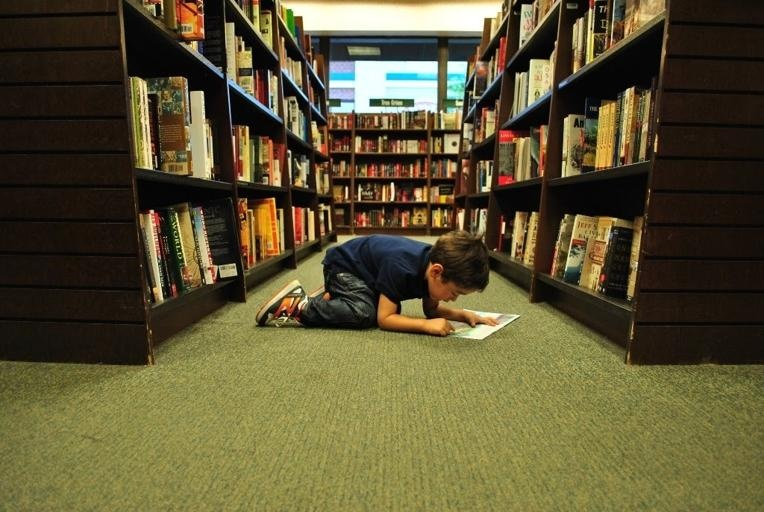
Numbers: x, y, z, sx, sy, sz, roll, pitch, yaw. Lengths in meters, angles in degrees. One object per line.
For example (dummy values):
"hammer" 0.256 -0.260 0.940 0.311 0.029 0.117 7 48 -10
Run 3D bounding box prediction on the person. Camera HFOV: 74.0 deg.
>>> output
"person" 0.012 0.089 2.243 0.847 0.385 0.494 1 -4 17

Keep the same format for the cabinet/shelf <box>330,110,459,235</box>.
"cabinet/shelf" 0.180 -1.140 6.843 1.807 1.712 0.579 0 3 -1
